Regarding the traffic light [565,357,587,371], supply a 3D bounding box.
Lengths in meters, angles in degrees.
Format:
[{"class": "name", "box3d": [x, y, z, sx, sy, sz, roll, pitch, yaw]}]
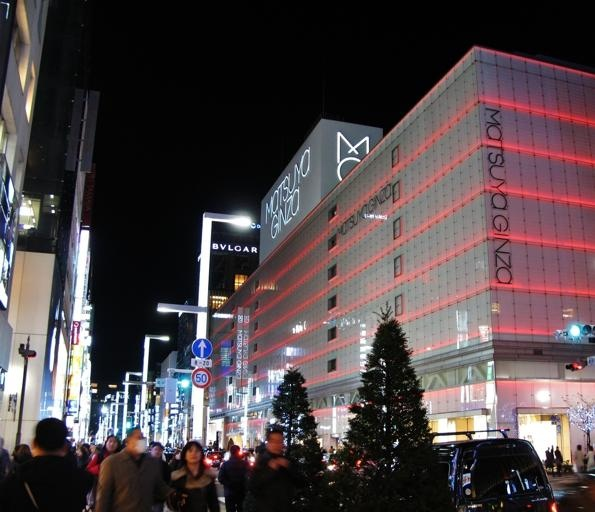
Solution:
[{"class": "traffic light", "box3d": [13.258, 5.191, 27.301, 0.696, 0.584, 1.659, -3, -11, -2]}]

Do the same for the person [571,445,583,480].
[{"class": "person", "box3d": [13.818, 9.993, 27.976, 0.587, 1.278, 0.598, -10, -21, 25]}]
